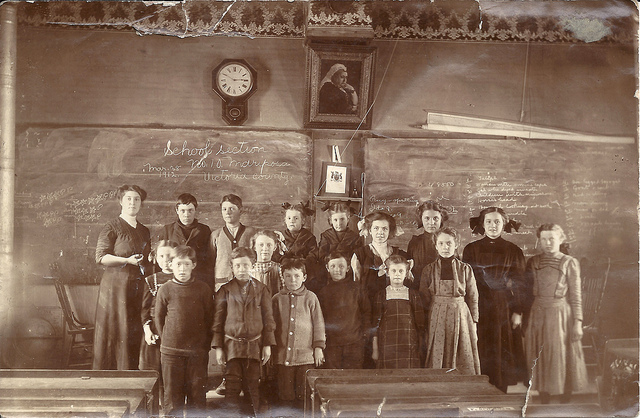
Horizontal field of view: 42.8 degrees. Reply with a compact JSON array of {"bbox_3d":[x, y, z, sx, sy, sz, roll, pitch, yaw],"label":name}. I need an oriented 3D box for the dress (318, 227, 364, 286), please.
[{"bbox_3d":[0.197,0.495,8.686,0.389,0.584,0.315,1,3,-5],"label":"dress"}]

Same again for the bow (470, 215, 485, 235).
[{"bbox_3d":[1.663,0.172,8.651,0.235,0.206,0.060,-1,3,3],"label":"bow"}]

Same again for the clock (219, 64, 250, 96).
[{"bbox_3d":[-0.908,-1.376,8.571,0.389,0.339,0.047,0,0,-4],"label":"clock"}]

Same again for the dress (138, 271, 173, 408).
[{"bbox_3d":[-1.681,1.322,8.335,0.328,1.373,0.199,2,-9,-11],"label":"dress"}]

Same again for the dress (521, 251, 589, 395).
[{"bbox_3d":[2.481,1.202,8.642,0.674,1.487,0.231,-1,-9,6],"label":"dress"}]

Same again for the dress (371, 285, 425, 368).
[{"bbox_3d":[0.814,1.214,8.461,0.486,0.794,0.402,2,2,2],"label":"dress"}]

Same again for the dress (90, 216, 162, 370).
[{"bbox_3d":[-2.064,0.847,8.481,0.701,1.461,0.508,-3,9,-14],"label":"dress"}]

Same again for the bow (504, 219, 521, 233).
[{"bbox_3d":[2.051,0.176,8.681,0.178,0.140,0.013,1,-9,-6],"label":"bow"}]

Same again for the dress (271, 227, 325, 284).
[{"bbox_3d":[-0.183,0.484,8.525,0.564,0.553,0.158,0,-8,-10],"label":"dress"}]

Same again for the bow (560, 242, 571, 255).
[{"bbox_3d":[2.616,0.409,8.716,0.102,0.115,0.032,2,-6,-8],"label":"bow"}]

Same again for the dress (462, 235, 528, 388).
[{"bbox_3d":[1.836,1.108,8.839,0.711,1.493,0.585,0,7,-1],"label":"dress"}]

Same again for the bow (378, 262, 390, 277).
[{"bbox_3d":[0.665,0.639,8.564,0.149,0.132,0.059,0,-10,5],"label":"bow"}]

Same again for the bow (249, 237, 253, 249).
[{"bbox_3d":[-0.719,0.351,8.510,0.020,0.066,0.050,13,-16,-19],"label":"bow"}]

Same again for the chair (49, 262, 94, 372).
[{"bbox_3d":[-2.570,1.079,8.397,0.429,0.976,0.383,-4,2,-18],"label":"chair"}]

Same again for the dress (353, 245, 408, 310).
[{"bbox_3d":[0.617,0.740,8.539,0.725,0.996,0.283,1,-4,-17],"label":"dress"}]

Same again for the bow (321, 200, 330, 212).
[{"bbox_3d":[0.056,-0.036,8.584,0.097,0.088,0.038,8,17,-32],"label":"bow"}]

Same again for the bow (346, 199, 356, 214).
[{"bbox_3d":[0.327,-0.034,8.597,0.097,0.131,0.034,5,-10,-32],"label":"bow"}]

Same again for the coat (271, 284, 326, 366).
[{"bbox_3d":[-0.230,1.190,8.382,0.550,0.749,0.387,2,1,-3],"label":"coat"}]

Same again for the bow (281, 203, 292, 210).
[{"bbox_3d":[-0.356,-0.033,8.560,0.128,0.051,0.070,1,-3,-10],"label":"bow"}]

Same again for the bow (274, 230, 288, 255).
[{"bbox_3d":[-0.400,0.350,8.530,0.185,0.206,0.220,5,-12,3],"label":"bow"}]
